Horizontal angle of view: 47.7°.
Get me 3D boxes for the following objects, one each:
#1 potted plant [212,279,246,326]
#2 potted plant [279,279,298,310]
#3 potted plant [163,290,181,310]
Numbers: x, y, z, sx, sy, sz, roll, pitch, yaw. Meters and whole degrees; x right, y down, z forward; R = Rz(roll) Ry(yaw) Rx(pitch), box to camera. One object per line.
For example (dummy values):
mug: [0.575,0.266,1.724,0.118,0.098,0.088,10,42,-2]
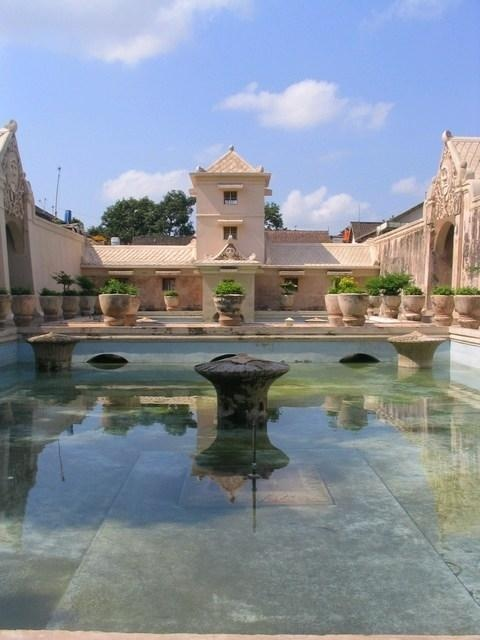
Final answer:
potted plant: [-0.194,-0.381,11.966,0.828,1.017,0.711,0,-4,23]
potted plant: [1.891,-1.000,20.836,0.633,1.218,1.599,0,3,6]
potted plant: [-2.636,-0.725,20.906,0.524,0.738,0.826,0,3,-9]
